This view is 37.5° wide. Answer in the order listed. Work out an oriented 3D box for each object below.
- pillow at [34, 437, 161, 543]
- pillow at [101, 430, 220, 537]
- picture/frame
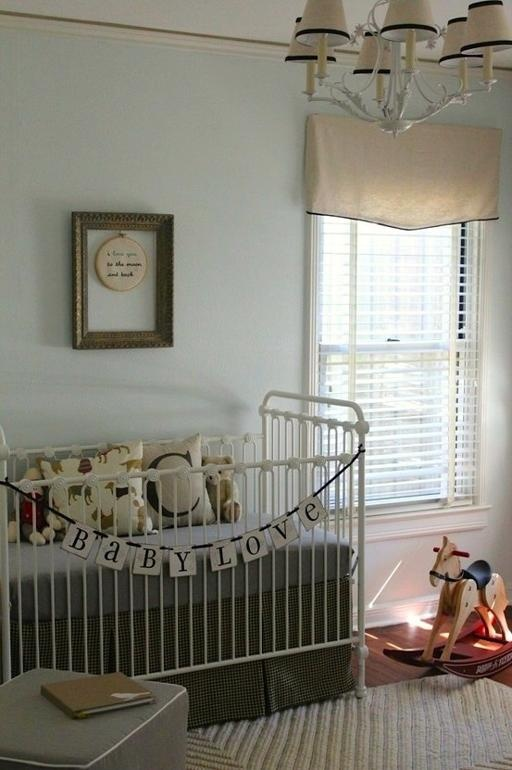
[{"bbox_3d":[-0.497,0.344,2.386,0.277,0.245,0.100,-12,-19,-6],"label":"pillow"},{"bbox_3d":[-0.232,0.331,2.540,0.316,0.305,0.153,-3,-15,-32],"label":"pillow"},{"bbox_3d":[-0.503,-0.401,2.769,0.579,0.691,0.056,-3,8,-32],"label":"picture/frame"}]
